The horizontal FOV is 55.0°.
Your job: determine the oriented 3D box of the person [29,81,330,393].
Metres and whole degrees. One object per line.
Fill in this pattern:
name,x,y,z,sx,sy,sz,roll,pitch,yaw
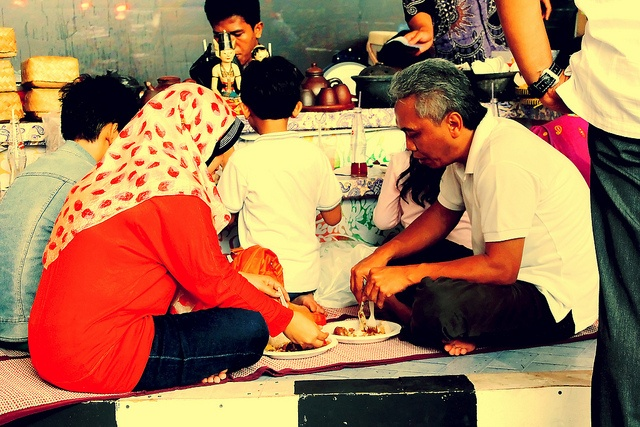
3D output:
person,-0.719,0.095,2.642,1.093,1.312,0.441,-10,8,-24

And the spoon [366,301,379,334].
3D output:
spoon,0.269,0.531,3.148,0.048,0.170,0.031,-2,-8,-3

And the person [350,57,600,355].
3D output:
person,0.752,-0.057,3.120,1.194,1.319,1.106,3,14,26

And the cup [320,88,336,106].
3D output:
cup,0.042,-0.812,4.294,0.125,0.119,0.114,-1,12,0

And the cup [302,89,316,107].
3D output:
cup,-0.092,-0.811,4.295,0.115,0.102,0.110,-1,9,0

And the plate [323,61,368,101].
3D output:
plate,0.192,-1.308,6.251,0.493,0.174,0.406,17,42,16
